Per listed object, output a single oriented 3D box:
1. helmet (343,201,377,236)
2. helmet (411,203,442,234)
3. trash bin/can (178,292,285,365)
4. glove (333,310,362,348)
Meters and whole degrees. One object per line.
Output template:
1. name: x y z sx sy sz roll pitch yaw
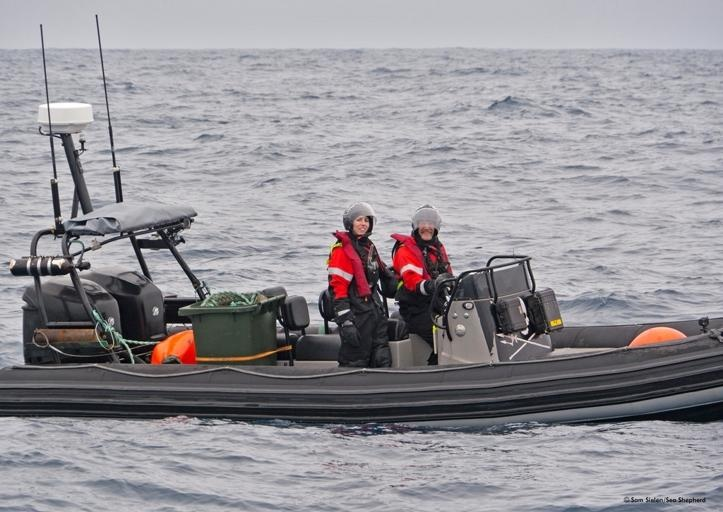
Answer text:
1. helmet: 0.013 -0.650 25.301 0.592 0.474 0.626 0 1 -28
2. helmet: 1.081 -0.629 25.256 0.508 0.406 0.467 3 -1 1
3. trash bin/can: -2.164 1.274 25.629 1.847 0.968 1.345 -4 -6 16
4. glove: -0.221 1.230 25.044 0.481 0.550 0.285 -10 -1 5
